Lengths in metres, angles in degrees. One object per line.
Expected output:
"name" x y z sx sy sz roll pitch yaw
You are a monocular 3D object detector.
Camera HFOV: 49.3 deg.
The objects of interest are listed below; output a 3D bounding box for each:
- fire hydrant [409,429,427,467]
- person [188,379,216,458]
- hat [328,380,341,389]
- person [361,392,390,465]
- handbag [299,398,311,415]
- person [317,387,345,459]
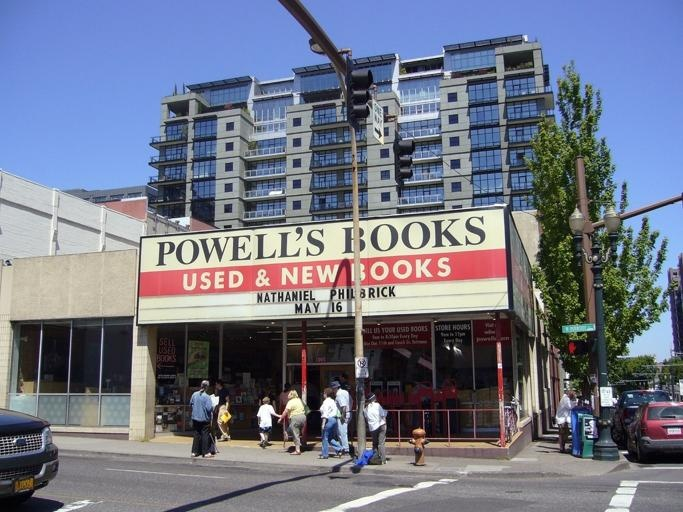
"fire hydrant" 2.270 5.627 21.995 0.329 1.062 0.689 -3 -12 4
"person" -4.405 5.075 23.438 0.647 2.386 1.034 0 -12 -10
"hat" -0.217 4.429 25.466 0.414 0.211 0.604 2 -9 -11
"person" 1.007 5.237 22.680 0.637 2.093 1.378 -2 -12 1
"handbag" -1.207 5.094 25.158 0.388 0.541 0.553 6 -23 -28
"person" -0.368 5.322 23.797 0.646 2.173 1.190 -2 -12 -1
